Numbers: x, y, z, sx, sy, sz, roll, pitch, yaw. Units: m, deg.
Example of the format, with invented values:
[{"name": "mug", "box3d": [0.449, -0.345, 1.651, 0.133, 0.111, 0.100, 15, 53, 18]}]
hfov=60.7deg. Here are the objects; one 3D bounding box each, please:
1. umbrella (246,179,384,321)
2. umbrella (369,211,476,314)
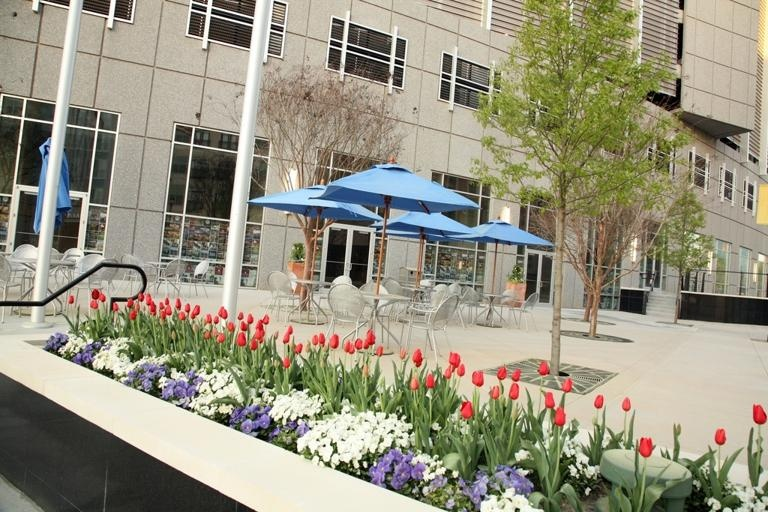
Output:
[{"name": "umbrella", "box3d": [-2.216, -0.240, 18.581, 3.470, 2.731, 3.602, 8, -6, -29]}, {"name": "umbrella", "box3d": [0.809, -0.250, 14.494, 1.820, 1.743, 2.018, 5, 9, -20]}]
